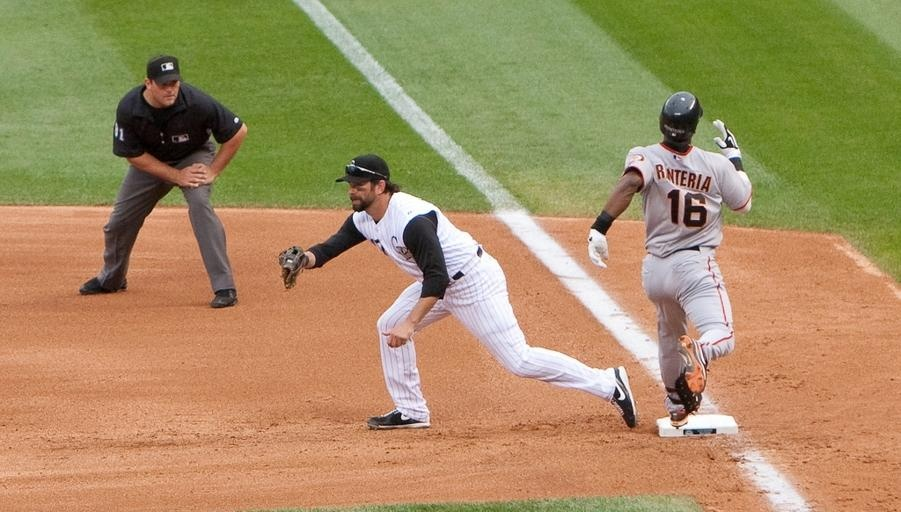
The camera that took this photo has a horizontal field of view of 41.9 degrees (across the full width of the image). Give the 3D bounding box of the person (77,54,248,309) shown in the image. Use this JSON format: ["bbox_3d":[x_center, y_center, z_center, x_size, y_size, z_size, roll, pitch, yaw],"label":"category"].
[{"bbox_3d":[-3.264,-0.823,13.661,1.662,2.927,1.140,10,30,-6],"label":"person"}]

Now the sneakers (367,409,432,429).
[{"bbox_3d":[-0.528,1.724,12.474,0.658,0.211,0.216,3,-3,-8],"label":"sneakers"}]

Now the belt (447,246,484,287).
[{"bbox_3d":[0.187,0.108,12.081,0.097,0.394,0.357,49,11,-6],"label":"belt"}]

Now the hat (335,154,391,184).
[{"bbox_3d":[-0.849,-0.880,12.023,0.452,0.188,0.308,1,5,-10],"label":"hat"}]

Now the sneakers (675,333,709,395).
[{"bbox_3d":[2.434,1.085,11.751,0.248,0.565,0.274,-15,-18,0],"label":"sneakers"}]

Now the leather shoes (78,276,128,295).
[{"bbox_3d":[-4.146,0.370,14.132,0.613,0.207,0.205,2,3,-12],"label":"leather shoes"}]

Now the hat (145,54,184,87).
[{"bbox_3d":[-3.250,-2.111,13.335,0.313,0.197,0.389,-8,25,-19],"label":"hat"}]

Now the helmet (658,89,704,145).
[{"bbox_3d":[2.308,-1.356,12.172,0.480,0.524,0.446,21,-15,10],"label":"helmet"}]

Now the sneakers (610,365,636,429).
[{"bbox_3d":[1.799,1.454,12.295,0.293,0.628,0.247,-18,12,1],"label":"sneakers"}]
